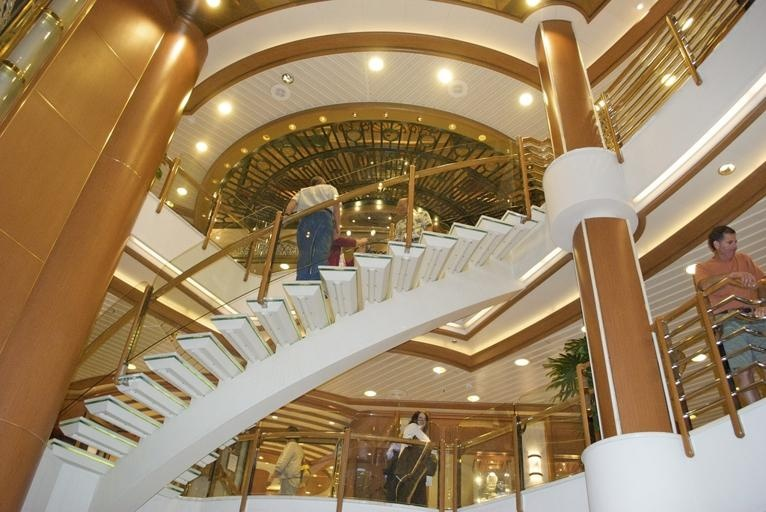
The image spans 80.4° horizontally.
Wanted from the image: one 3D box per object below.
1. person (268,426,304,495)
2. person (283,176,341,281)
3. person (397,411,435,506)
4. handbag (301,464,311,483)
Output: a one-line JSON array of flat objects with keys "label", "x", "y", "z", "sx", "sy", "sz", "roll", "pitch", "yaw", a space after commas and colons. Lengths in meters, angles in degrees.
[{"label": "person", "x": -1.396, "y": 3.021, "z": 6.571, "sx": 0.504, "sy": 0.736, "sz": 0.162, "roll": -11, "pitch": -32, "yaw": 20}, {"label": "person", "x": -0.946, "y": -0.304, "z": 6.099, "sx": 0.576, "sy": 1.774, "sz": 0.449, "roll": -5, "pitch": -31, "yaw": 4}, {"label": "person", "x": 0.470, "y": 2.897, "z": 6.674, "sx": 0.555, "sy": 1.304, "sz": 0.619, "roll": 2, "pitch": -30, "yaw": -1}, {"label": "handbag", "x": -1.103, "y": 3.077, "z": 6.498, "sx": 0.149, "sy": 0.263, "sz": 0.271, "roll": -4, "pitch": -31, "yaw": -5}]
